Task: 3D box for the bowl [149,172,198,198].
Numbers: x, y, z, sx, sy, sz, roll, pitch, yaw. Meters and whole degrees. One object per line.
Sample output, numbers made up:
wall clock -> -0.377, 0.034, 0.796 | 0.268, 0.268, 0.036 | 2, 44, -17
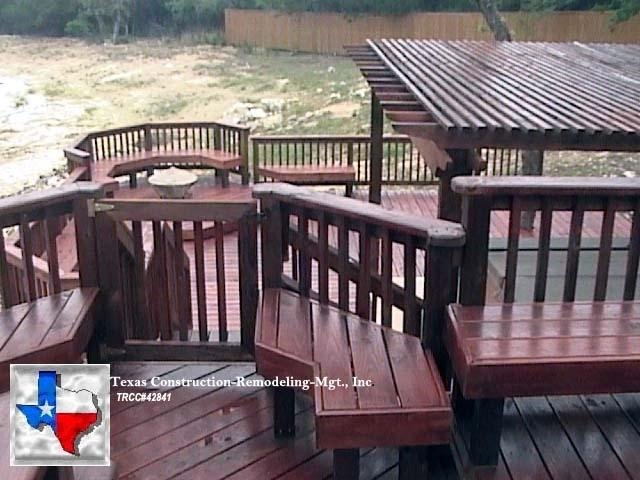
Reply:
bowl -> -2.102, -0.784, 8.735 | 0.619, 0.459, 0.631 | -2, 19, 1
